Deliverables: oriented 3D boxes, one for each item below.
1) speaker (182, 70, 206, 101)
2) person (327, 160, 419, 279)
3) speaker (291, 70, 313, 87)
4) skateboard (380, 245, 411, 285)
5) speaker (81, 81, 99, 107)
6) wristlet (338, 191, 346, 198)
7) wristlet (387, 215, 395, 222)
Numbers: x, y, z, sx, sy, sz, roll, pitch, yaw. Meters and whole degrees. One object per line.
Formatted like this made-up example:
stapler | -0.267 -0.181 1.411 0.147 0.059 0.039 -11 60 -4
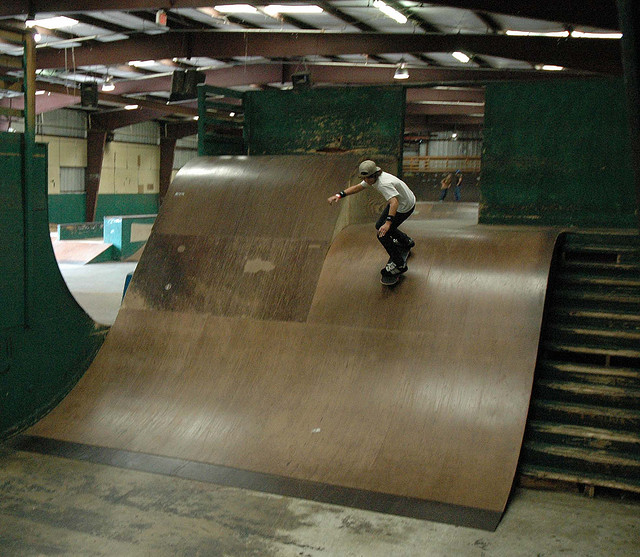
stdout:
speaker | -2.988 -4.640 12.620 0.464 0.585 0.597 0 13 6
person | 0.570 -0.588 5.391 0.863 1.197 0.841 -5 30 4
speaker | -0.436 -4.966 13.260 0.421 0.401 0.964 -1 13 3
skateboard | 0.788 -0.183 5.429 0.174 0.656 0.092 35 -29 -22
speaker | -6.905 -5.543 15.898 0.456 0.682 0.704 -8 14 -24
wristlet | 0.234 -0.871 5.469 0.064 0.056 0.105 -1 13 2
wristlet | 0.668 -0.568 5.009 0.049 0.051 0.047 6 6 22
